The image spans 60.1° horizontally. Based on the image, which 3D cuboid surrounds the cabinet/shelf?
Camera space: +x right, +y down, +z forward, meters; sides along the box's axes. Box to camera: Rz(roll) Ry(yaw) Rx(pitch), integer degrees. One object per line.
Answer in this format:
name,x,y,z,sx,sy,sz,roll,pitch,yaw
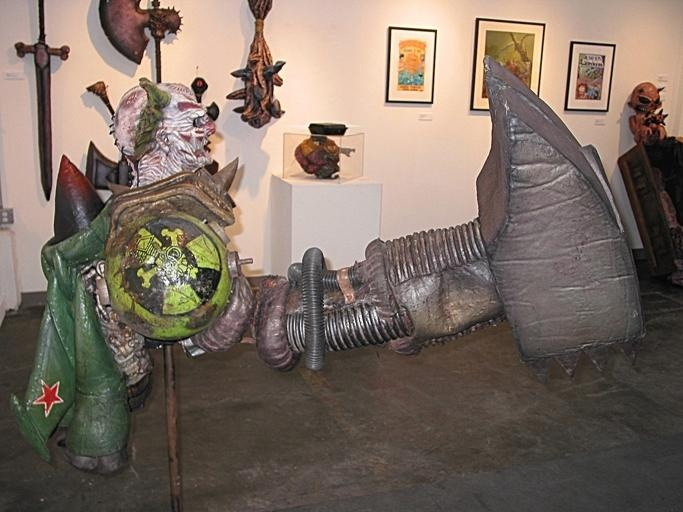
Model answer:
cabinet/shelf,-0.120,-0.266,4.328,0.727,0.715,0.735,-1,8,-4
